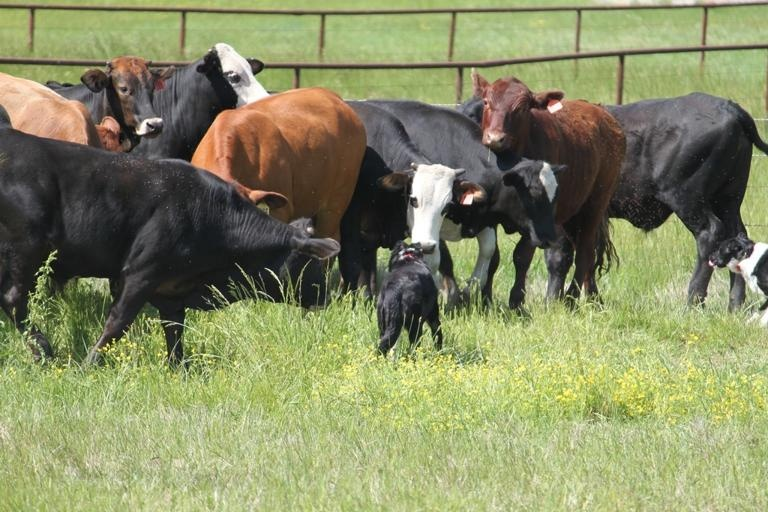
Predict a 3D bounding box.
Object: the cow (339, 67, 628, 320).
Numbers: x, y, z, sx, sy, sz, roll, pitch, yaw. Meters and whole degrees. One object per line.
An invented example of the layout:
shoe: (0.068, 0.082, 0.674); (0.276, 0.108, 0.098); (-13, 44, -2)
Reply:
cow: (1.924, -0.793, 13.003); (1.384, 2.445, 2.468); (17, 19, 42)
